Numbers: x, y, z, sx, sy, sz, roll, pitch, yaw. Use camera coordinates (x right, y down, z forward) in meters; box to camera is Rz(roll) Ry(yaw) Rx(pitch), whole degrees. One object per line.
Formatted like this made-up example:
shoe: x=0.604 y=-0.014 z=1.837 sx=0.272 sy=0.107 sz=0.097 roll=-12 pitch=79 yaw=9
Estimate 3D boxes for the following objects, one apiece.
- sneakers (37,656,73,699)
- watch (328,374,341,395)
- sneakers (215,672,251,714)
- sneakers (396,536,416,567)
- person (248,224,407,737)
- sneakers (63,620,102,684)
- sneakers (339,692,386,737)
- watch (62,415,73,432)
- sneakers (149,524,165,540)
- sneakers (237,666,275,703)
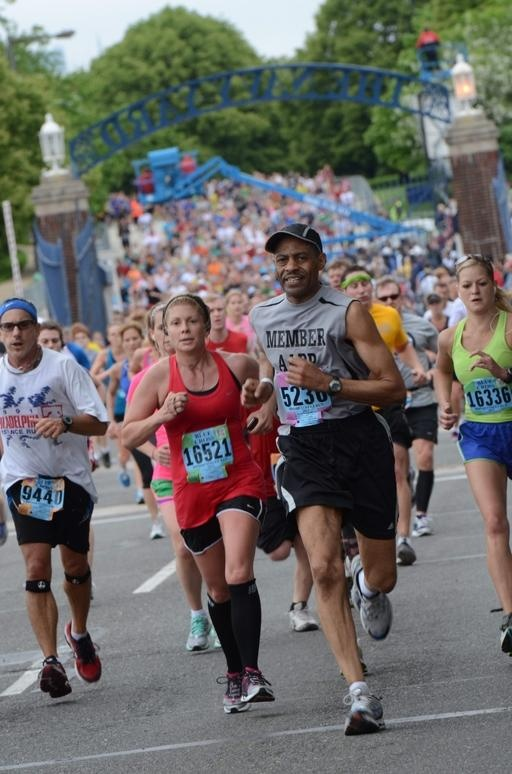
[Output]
sneakers: x=-0.836 y=1.242 z=3.761 sx=0.105 sy=0.228 sz=0.105 roll=-9 pitch=40 yaw=1
watch: x=0.269 y=-0.012 z=3.042 sx=0.041 sy=0.060 sz=0.061 roll=28 pitch=7 yaw=-3
sneakers: x=-0.098 y=1.151 z=3.378 sx=0.109 sy=0.087 sz=0.208 roll=1 pitch=5 yaw=1
sneakers: x=1.059 y=1.168 z=6.287 sx=0.104 sy=0.117 sz=0.258 roll=-2 pitch=-44 yaw=4
person: x=0.313 y=0.240 z=3.118 sx=0.484 sy=1.736 sz=0.748 roll=-9 pitch=-6 yaw=0
sneakers: x=-0.804 y=1.221 z=4.170 sx=0.128 sy=0.324 sz=0.131 roll=-19 pitch=-20 yaw=-26
sneakers: x=0.340 y=0.999 z=2.750 sx=0.076 sy=0.129 sz=0.200 roll=-10 pitch=-25 yaw=20
watch: x=-0.819 y=0.152 z=3.856 sx=0.046 sy=0.063 sz=0.060 roll=8 pitch=-33 yaw=-26
sneakers: x=-1.024 y=1.510 z=9.225 sx=0.173 sy=0.180 sz=0.431 roll=0 pitch=-9 yaw=1
sneakers: x=-0.002 y=1.074 z=3.148 sx=0.081 sy=0.075 sz=0.174 roll=3 pitch=-16 yaw=-11
